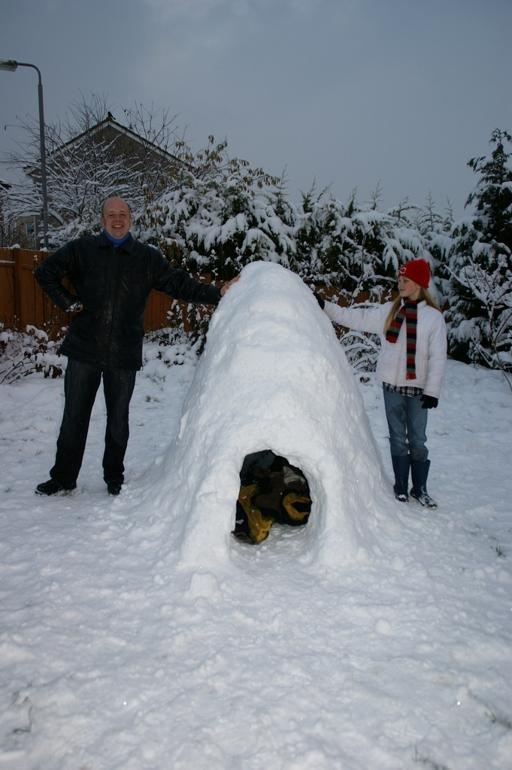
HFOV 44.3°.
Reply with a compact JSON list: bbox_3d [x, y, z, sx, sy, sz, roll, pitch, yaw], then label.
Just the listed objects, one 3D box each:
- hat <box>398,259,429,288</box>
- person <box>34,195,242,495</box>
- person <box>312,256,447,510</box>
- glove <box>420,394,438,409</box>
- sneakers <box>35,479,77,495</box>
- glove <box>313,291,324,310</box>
[{"bbox_3d":[0.947,-0.673,3.791,0.179,0.174,0.200,4,10,12],"label":"hat"},{"bbox_3d":[-0.819,-0.208,3.671,0.917,1.715,0.326,-2,10,-21],"label":"person"},{"bbox_3d":[0.868,-0.036,3.870,0.384,1.462,0.689,-3,11,-30],"label":"person"},{"bbox_3d":[0.999,0.096,3.647,0.089,0.096,0.143,4,10,13],"label":"glove"},{"bbox_3d":[-1.182,0.606,3.711,0.218,0.101,0.088,10,-2,-24],"label":"sneakers"},{"bbox_3d":[0.383,-0.529,3.824,0.073,0.106,0.092,-14,-13,3],"label":"glove"}]
